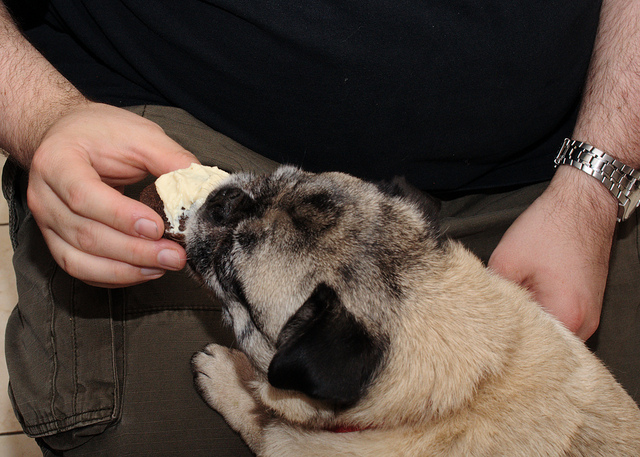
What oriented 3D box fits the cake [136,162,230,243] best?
[{"bbox_3d":[-0.634,-0.139,2.857,0.348,0.368,0.433,-25,39,-39],"label":"cake"}]
